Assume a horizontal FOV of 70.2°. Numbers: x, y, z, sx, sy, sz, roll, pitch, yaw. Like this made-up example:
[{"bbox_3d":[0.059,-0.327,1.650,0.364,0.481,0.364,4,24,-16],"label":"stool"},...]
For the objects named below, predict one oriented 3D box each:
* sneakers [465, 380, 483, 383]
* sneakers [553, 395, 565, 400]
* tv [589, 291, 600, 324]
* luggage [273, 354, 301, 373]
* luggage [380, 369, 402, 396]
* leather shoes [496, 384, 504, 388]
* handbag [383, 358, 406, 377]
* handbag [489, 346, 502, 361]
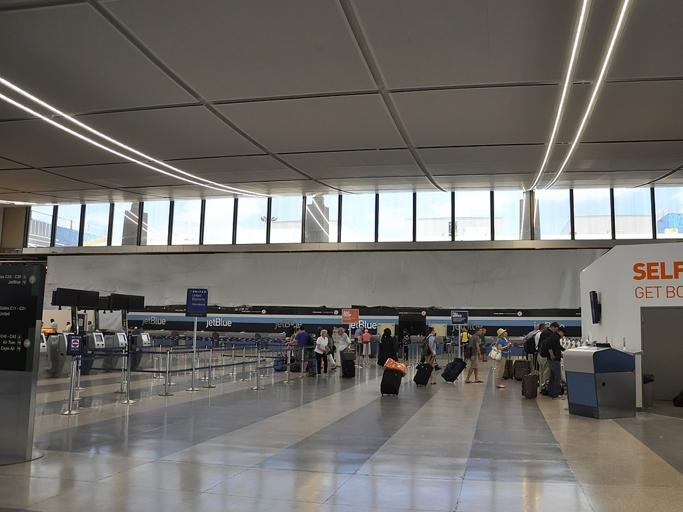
[{"bbox_3d":[4.579,4.330,16.757,0.551,0.149,0.197,-3,-5,12],"label":"sneakers"},{"bbox_3d":[6.041,3.933,13.502,0.306,0.126,0.105,-3,-1,-1],"label":"sneakers"},{"bbox_3d":[7.380,1.477,14.046,0.229,0.971,0.668,-1,-3,22],"label":"tv"},{"bbox_3d":[-2.139,4.217,18.916,0.750,0.440,0.987,-1,-4,21],"label":"luggage"},{"bbox_3d":[1.392,3.485,13.431,0.577,0.693,0.414,-1,-3,11],"label":"luggage"},{"bbox_3d":[5.087,4.131,15.482,0.140,0.155,0.392,0,-11,2],"label":"leather shoes"},{"bbox_3d":[1.422,3.051,13.698,0.662,0.272,0.664,16,2,44],"label":"handbag"},{"bbox_3d":[4.811,3.025,15.147,0.328,0.474,0.650,-1,-3,19],"label":"handbag"}]
